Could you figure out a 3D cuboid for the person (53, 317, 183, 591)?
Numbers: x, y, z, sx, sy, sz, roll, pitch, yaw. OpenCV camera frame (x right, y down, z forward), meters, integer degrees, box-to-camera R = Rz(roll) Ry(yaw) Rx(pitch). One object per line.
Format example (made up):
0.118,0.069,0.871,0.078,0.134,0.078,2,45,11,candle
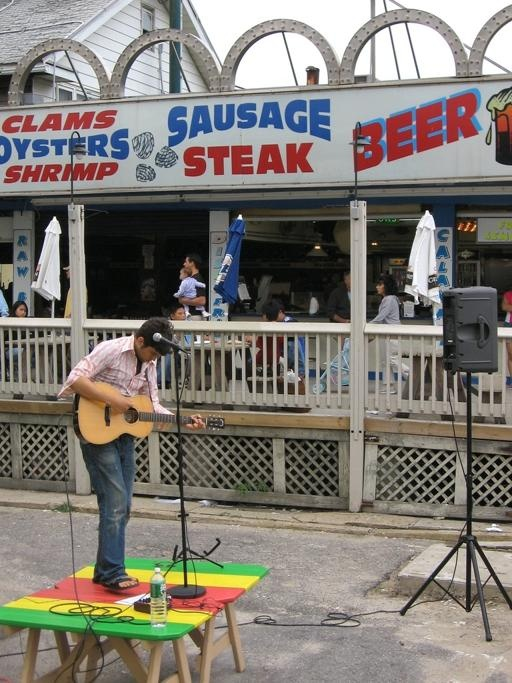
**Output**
-0.774,0.622,6.313,0.647,1.494,0.861,-4,7,-13,person

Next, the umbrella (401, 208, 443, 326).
1.644,-0.732,10.530,0.334,1.109,0.806,-1,6,9,umbrella

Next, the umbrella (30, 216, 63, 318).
-2.381,-0.857,12.101,0.329,1.122,0.781,-3,7,-10,umbrella

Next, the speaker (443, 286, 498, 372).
1.398,-0.070,6.962,0.358,0.563,0.254,-1,6,6,speaker

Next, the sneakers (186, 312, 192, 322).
-0.760,-0.276,11.867,0.061,0.147,0.046,-11,-22,31,sneakers

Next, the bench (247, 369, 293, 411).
0.103,0.453,9.752,0.444,0.376,0.340,0,0,-18,bench

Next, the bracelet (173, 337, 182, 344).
-0.559,-0.011,7.519,0.054,0.013,0.053,3,38,-9,bracelet

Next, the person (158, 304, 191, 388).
-0.804,0.046,10.256,0.282,0.885,0.257,3,29,-4,person

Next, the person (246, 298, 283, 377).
0.149,0.050,9.885,0.334,0.827,0.421,3,21,-2,person

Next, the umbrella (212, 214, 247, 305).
-0.291,-0.885,11.552,0.322,0.972,0.976,-2,6,-1,umbrella

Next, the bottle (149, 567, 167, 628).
-0.507,1.314,5.488,0.091,0.250,0.309,-3,6,-5,bottle
